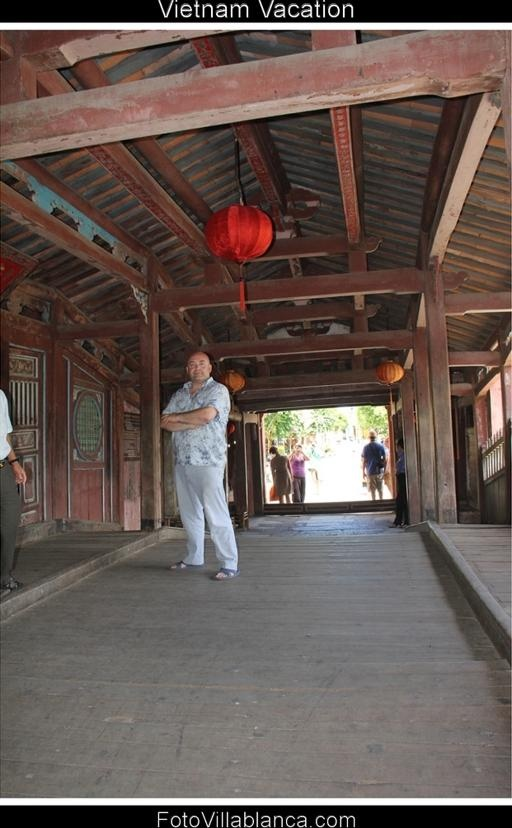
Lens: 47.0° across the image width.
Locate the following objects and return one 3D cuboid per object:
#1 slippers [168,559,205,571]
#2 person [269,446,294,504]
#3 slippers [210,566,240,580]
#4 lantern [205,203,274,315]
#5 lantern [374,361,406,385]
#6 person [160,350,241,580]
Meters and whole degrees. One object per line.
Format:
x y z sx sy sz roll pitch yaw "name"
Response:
-0.422 0.904 3.548 0.183 0.059 0.068 6 -16 -13 "slippers"
0.618 1.469 13.816 0.483 1.635 0.407 -9 20 -1 "person"
-0.160 0.874 3.264 0.173 0.062 0.143 -4 -6 -21 "slippers"
-0.127 -1.304 4.515 0.432 0.500 0.373 -10 -7 40 "lantern"
2.105 -0.628 9.220 0.414 0.389 0.428 0 -6 3 "lantern"
-0.347 0.353 3.449 0.461 1.159 0.352 -7 -5 16 "person"
